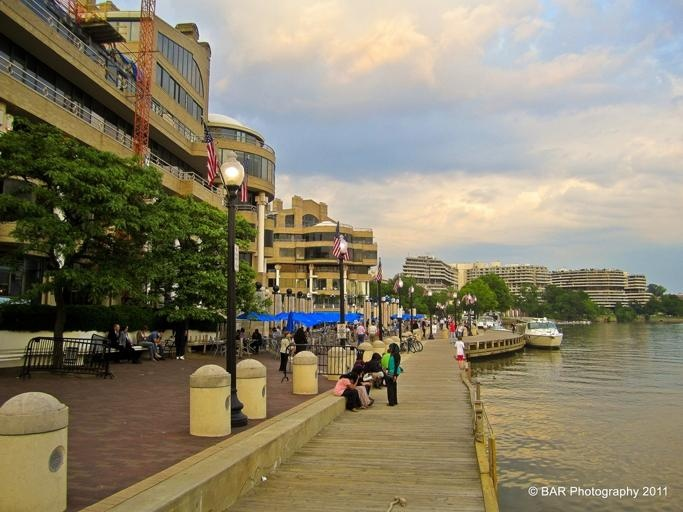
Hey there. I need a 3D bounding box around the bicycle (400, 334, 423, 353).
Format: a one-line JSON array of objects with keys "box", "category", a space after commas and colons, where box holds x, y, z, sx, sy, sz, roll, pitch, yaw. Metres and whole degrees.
[{"box": [5.392, 6.622, 45.574, 2.149, 1.427, 1.140, -2, -2, -5], "category": "bicycle"}]

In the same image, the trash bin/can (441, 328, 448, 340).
[{"box": [11.896, 9.002, 69.289, 1.044, 1.248, 0.761, 3, -7, -32], "category": "trash bin/can"}]

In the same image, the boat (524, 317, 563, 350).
[{"box": [22.818, 8.880, 68.185, 3.065, 3.441, 4.273, 3, -10, -20], "category": "boat"}]
